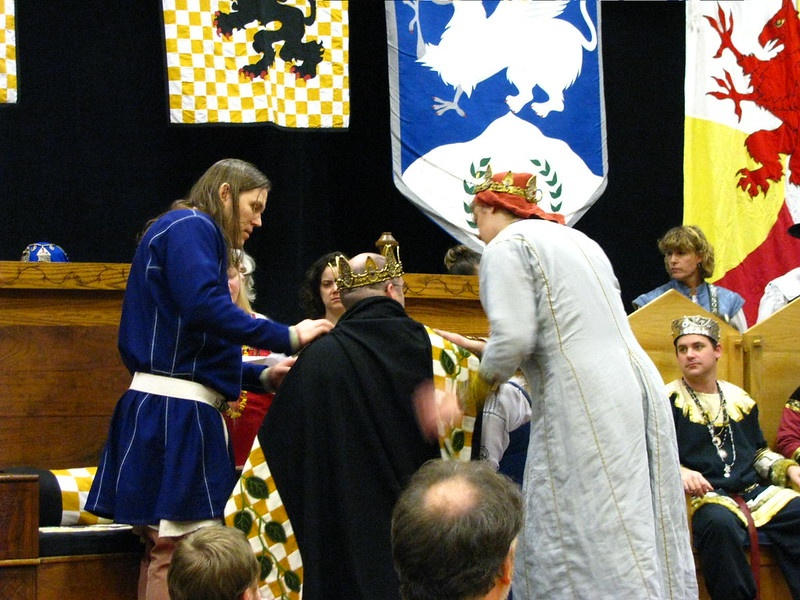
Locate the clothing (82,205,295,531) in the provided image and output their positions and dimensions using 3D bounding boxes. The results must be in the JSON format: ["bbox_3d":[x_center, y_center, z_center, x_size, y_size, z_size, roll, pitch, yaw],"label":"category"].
[{"bbox_3d":[-0.976,0.518,5.922,1.089,1.949,0.895,9,-16,-36],"label":"clothing"}]

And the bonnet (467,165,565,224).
[{"bbox_3d":[0.567,-0.523,5.890,0.381,0.177,0.288,14,-3,11],"label":"bonnet"}]

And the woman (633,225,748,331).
[{"bbox_3d":[2.035,-0.151,8.040,0.683,0.693,0.404,-11,-20,40],"label":"woman"}]

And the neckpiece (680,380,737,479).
[{"bbox_3d":[1.884,0.753,6.884,0.170,0.585,0.047,-12,-33,3],"label":"neckpiece"}]

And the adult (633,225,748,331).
[{"bbox_3d":[2.035,-0.151,8.040,0.683,0.693,0.404,-11,-20,40],"label":"adult"}]

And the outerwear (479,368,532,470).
[{"bbox_3d":[0.556,0.675,6.087,0.192,0.483,0.592,16,4,15],"label":"outerwear"}]

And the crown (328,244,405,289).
[{"bbox_3d":[-0.156,-0.145,5.818,0.261,0.107,0.231,-8,-8,-28],"label":"crown"}]
